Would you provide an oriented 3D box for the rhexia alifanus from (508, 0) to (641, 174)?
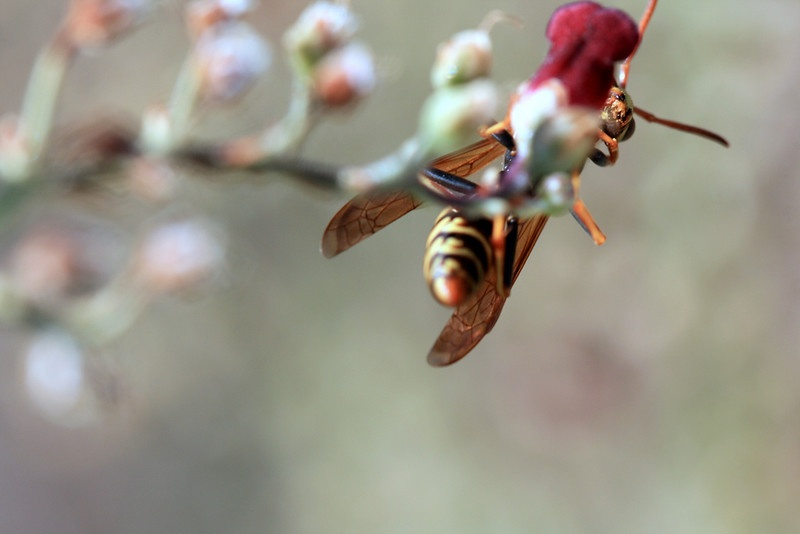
[{"bbox_3d":[0.106,-0.123,0.580,0.058,0.041,0.108,17,78,18],"label":"rhexia alifanus"}]
